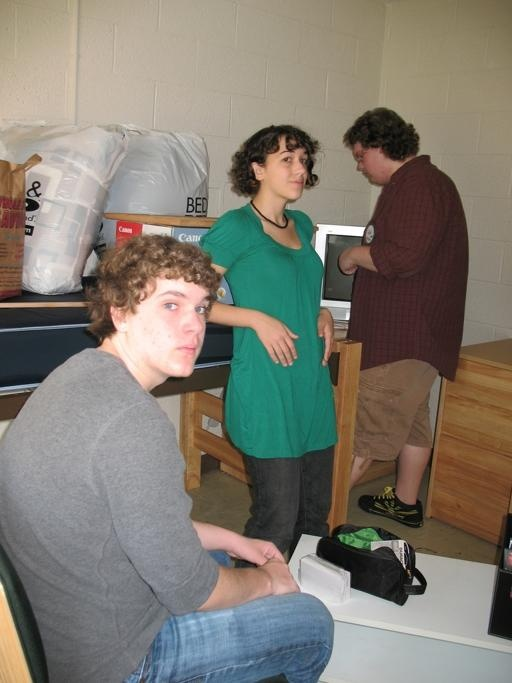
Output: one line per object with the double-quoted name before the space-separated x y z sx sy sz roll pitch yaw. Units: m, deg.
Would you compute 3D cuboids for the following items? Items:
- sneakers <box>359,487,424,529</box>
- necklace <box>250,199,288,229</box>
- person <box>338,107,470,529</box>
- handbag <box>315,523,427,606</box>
"sneakers" 0.557 0.678 2.392 0.310 0.123 0.112 16 21 29
"necklace" 0.045 -0.322 1.457 0.104 0.079 0.006 26 -42 -23
"person" 0.521 -0.055 2.166 0.534 1.627 0.337 9 13 17
"handbag" 0.247 0.473 1.196 0.192 0.068 0.114 17 5 21
